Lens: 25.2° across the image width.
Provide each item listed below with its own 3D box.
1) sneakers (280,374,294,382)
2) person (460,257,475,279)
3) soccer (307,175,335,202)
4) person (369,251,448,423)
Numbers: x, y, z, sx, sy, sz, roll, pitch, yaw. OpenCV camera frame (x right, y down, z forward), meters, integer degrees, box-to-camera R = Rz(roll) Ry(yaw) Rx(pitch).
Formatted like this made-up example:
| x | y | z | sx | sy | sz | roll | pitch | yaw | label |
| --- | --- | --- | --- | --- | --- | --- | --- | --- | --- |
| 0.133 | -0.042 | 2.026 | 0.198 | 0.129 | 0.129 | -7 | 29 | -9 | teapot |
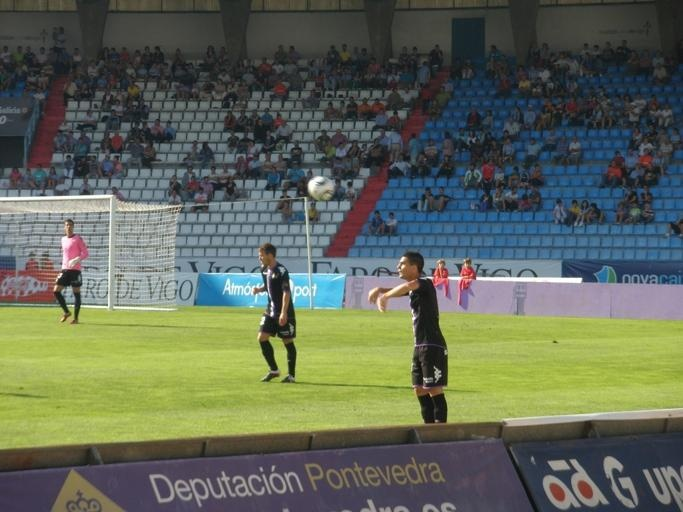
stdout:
| x | y | z | sx | sy | sz | roll | pitch | yaw | label |
| --- | --- | --- | --- | --- | --- | --- | --- | --- | --- |
| -1.460 | 3.216 | 40.152 | 0.143 | 0.174 | 0.394 | 5 | -3 | -40 | sneakers |
| 4.360 | 0.397 | 52.754 | 0.513 | 0.756 | 0.814 | 0 | 6 | 3 | person |
| -0.696 | -2.498 | 55.076 | 0.720 | 0.775 | 0.929 | 19 | 12 | 33 | soccer |
| 1.804 | 1.964 | 36.847 | 1.428 | 4.147 | 0.758 | 0 | 6 | 3 | person |
